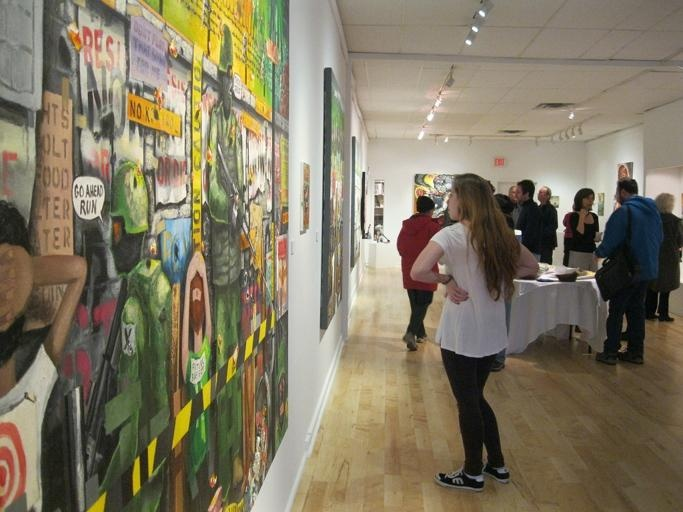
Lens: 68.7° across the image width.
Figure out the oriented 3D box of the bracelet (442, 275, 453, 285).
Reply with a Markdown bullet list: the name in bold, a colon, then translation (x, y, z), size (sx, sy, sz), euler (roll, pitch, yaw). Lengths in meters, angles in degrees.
- **bracelet**: translation (0.601, 0.131, 2.816), size (0.050, 0.046, 0.057), euler (-22, 26, 14)

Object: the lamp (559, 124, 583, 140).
- **lamp**: translation (5.519, -3.008, 11.987), size (0.572, 0.250, 0.188), euler (-17, 20, -13)

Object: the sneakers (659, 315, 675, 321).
- **sneakers**: translation (4.729, 0.899, 7.239), size (0.118, 0.061, 0.045), euler (-10, 21, 6)

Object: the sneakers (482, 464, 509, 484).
- **sneakers**: translation (0.973, 1.355, 3.157), size (0.064, 0.081, 0.180), euler (-1, 8, -29)

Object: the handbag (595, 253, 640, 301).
- **handbag**: translation (2.912, 0.164, 5.259), size (0.383, 0.622, 0.583), euler (-14, -8, 26)

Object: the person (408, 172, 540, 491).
- **person**: translation (0.740, 0.476, 2.891), size (0.809, 1.895, 0.360), euler (-3, 6, -30)

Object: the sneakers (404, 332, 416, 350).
- **sneakers**: translation (0.824, 1.015, 5.833), size (0.094, 0.123, 0.261), euler (6, -33, 29)

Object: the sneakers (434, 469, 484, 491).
- **sneakers**: translation (0.724, 1.362, 3.092), size (0.300, 0.146, 0.116), euler (5, -4, 12)

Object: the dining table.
- **dining table**: translation (2.283, 0.543, 5.470), size (0.861, 0.717, 1.054), euler (-1, 5, -11)

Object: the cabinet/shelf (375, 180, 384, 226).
- **cabinet/shelf**: translation (1.111, -1.576, 14.618), size (0.276, 1.298, 0.234), euler (1, 5, 7)

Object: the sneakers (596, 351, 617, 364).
- **sneakers**: translation (2.871, 1.088, 5.427), size (0.083, 0.118, 0.253), euler (0, 8, -10)

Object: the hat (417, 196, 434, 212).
- **hat**: translation (0.953, -0.564, 5.665), size (0.141, 0.214, 0.181), euler (2, -12, 10)

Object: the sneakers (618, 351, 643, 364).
- **sneakers**: translation (3.139, 1.094, 5.446), size (0.103, 0.132, 0.277), euler (-1, 6, -22)
